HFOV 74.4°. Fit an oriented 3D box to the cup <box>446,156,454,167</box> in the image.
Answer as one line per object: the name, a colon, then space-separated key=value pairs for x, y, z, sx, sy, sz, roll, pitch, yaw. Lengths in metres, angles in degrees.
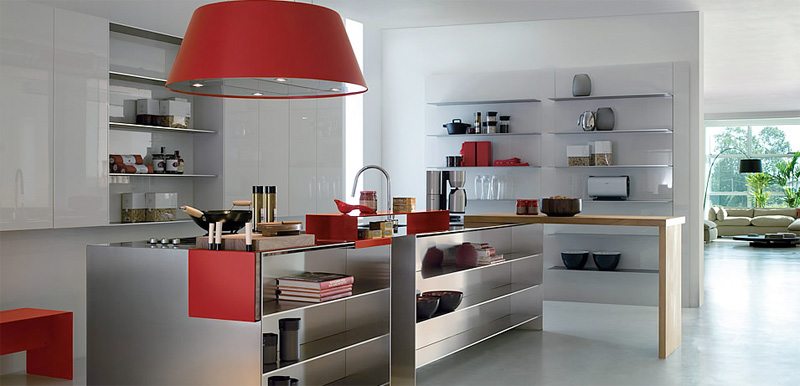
cup: x=0.909 y=-0.561 z=9.261 sx=0.194 sy=0.141 sz=0.172 roll=0 pitch=0 yaw=10

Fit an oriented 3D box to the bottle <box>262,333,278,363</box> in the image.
bottle: x=-1.238 y=1.476 z=5.038 sx=0.124 sy=0.277 sz=0.200 roll=-2 pitch=7 yaw=-4

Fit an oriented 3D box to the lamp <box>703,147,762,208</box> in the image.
lamp: x=10.523 y=-0.432 z=16.610 sx=1.503 sy=2.052 sz=1.074 roll=2 pitch=8 yaw=29

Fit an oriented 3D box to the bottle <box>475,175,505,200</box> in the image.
bottle: x=1.601 y=-0.090 z=9.167 sx=0.541 sy=0.392 sz=0.172 roll=1 pitch=2 yaw=7

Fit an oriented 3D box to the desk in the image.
desk: x=2.135 y=1.054 z=7.151 sx=2.728 sy=1.334 sz=0.910 roll=1 pitch=-13 yaw=17

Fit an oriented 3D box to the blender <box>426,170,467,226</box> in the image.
blender: x=0.593 y=0.074 z=6.737 sx=0.341 sy=0.704 sz=0.532 roll=4 pitch=9 yaw=39

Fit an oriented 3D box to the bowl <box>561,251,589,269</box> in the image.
bowl: x=2.614 y=0.979 z=7.828 sx=0.371 sy=0.171 sz=0.326 roll=0 pitch=-2 yaw=2

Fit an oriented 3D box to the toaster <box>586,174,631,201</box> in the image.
toaster: x=3.551 y=-0.099 z=8.743 sx=0.406 sy=0.366 sz=0.665 roll=-2 pitch=1 yaw=-37

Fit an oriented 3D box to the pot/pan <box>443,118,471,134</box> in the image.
pot/pan: x=1.025 y=-1.133 z=9.274 sx=0.405 sy=0.169 sz=0.336 roll=0 pitch=1 yaw=5

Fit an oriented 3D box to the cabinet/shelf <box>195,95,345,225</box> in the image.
cabinet/shelf: x=-1.948 y=-0.496 z=7.561 sx=0.810 sy=1.962 sz=2.561 roll=3 pitch=2 yaw=44

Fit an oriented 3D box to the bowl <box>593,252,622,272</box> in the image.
bowl: x=3.130 y=1.029 z=7.933 sx=0.373 sy=0.185 sz=0.335 roll=0 pitch=-4 yaw=16

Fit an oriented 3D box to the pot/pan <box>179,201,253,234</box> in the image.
pot/pan: x=-1.849 y=0.259 z=5.343 sx=0.608 sy=0.181 sz=0.429 roll=1 pitch=-1 yaw=-30

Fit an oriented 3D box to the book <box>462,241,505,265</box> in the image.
book: x=1.013 y=0.763 z=6.612 sx=0.353 sy=0.182 sz=0.455 roll=-1 pitch=-1 yaw=38

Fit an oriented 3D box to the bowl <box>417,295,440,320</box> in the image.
bowl: x=0.303 y=1.308 z=5.982 sx=0.191 sy=0.245 sz=0.263 roll=18 pitch=-25 yaw=-5
